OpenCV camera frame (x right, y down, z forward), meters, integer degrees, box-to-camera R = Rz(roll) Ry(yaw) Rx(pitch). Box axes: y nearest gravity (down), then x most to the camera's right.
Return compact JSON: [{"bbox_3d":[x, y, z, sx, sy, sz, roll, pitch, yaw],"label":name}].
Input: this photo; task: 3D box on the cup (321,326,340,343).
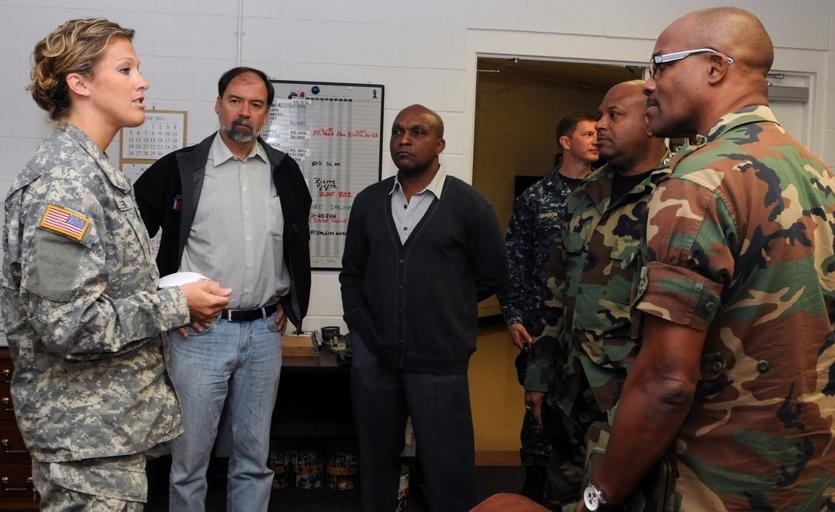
[{"bbox_3d":[-0.546,0.464,4.454,0.154,0.102,0.086,0,-4,-6],"label":"cup"}]
